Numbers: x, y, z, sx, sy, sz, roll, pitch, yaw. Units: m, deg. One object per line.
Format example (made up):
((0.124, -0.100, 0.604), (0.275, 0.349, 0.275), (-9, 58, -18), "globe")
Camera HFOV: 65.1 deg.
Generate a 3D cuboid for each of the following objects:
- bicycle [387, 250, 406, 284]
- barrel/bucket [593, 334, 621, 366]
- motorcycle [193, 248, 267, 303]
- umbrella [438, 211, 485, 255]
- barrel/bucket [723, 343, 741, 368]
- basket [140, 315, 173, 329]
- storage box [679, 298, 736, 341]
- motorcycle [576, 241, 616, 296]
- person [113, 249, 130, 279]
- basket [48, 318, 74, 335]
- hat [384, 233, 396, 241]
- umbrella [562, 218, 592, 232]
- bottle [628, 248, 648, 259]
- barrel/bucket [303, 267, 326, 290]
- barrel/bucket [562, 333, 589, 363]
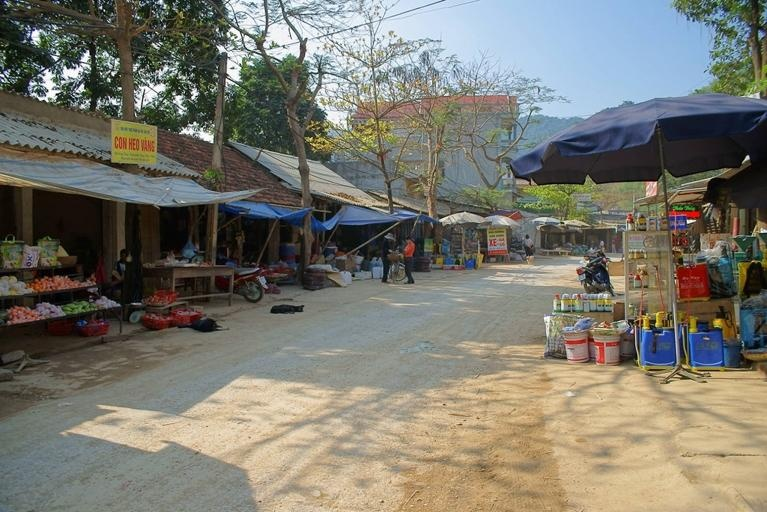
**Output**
((0.468, 0.464, 22.652), (0.651, 0.705, 1.259), (-1, -4, 3), "bicycle")
((3.788, 1.580, 10.228), (0.502, 0.472, 0.500), (-1, -1, 0), "barrel/bucket")
((-4.339, 0.714, 17.168), (1.996, 1.118, 0.940), (7, 0, 13), "motorcycle")
((4.135, -1.376, 30.229), (2.413, 1.936, 2.329), (-6, 18, 13), "umbrella")
((5.696, 1.615, 9.803), (0.381, 0.352, 0.350), (0, -3, 0), "barrel/bucket")
((-4.992, 1.440, 13.105), (0.468, 0.159, 0.331), (-1, -2, 35), "basket")
((5.544, 1.098, 10.322), (0.715, 0.607, 0.376), (-2, -7, 15), "storage box")
((6.065, 0.538, 17.381), (0.894, 0.979, 1.868), (-29, -17, 29), "motorcycle")
((-6.244, 0.167, 14.271), (0.353, 0.799, 1.659), (0, -3, -24), "person")
((-6.715, 1.471, 12.480), (0.531, 0.332, 0.444), (0, -3, -21), "basket")
((0.245, -0.781, 22.002), (0.414, 0.148, 0.435), (10, -10, 5), "hat")
((14.065, -2.247, 43.520), (1.559, 0.481, 1.589), (1, -1, 41), "umbrella")
((4.691, -0.029, 11.117), (0.281, 0.094, 0.271), (0, -3, 0), "bottle")
((-2.279, 0.742, 19.603), (0.761, 0.742, 0.741), (0, 0, 0), "barrel/bucket")
((3.357, 1.581, 10.543), (0.513, 0.493, 0.509), (-2, -1, 0), "barrel/bucket")
